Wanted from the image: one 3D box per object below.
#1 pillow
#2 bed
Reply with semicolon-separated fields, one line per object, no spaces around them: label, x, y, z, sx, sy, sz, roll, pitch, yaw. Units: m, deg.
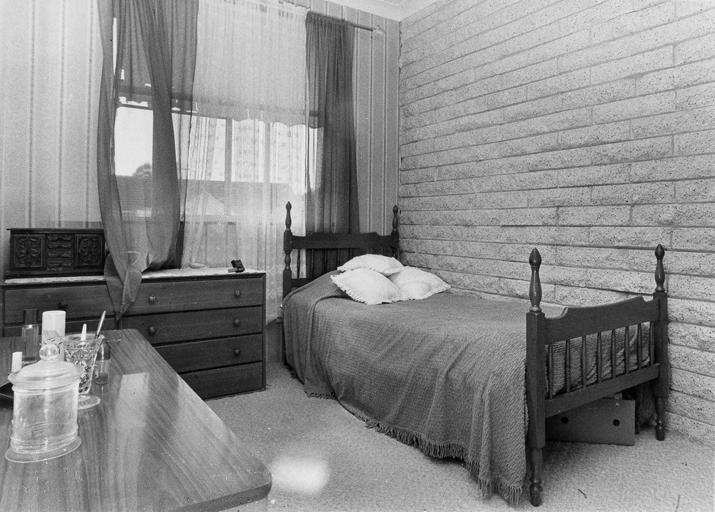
pillow;0.233;0.184;4.425;0.535;0.108;0.488;5;15;-40
bed;0.598;0.452;3.835;1.323;1.313;2.056;-3;3;-35
